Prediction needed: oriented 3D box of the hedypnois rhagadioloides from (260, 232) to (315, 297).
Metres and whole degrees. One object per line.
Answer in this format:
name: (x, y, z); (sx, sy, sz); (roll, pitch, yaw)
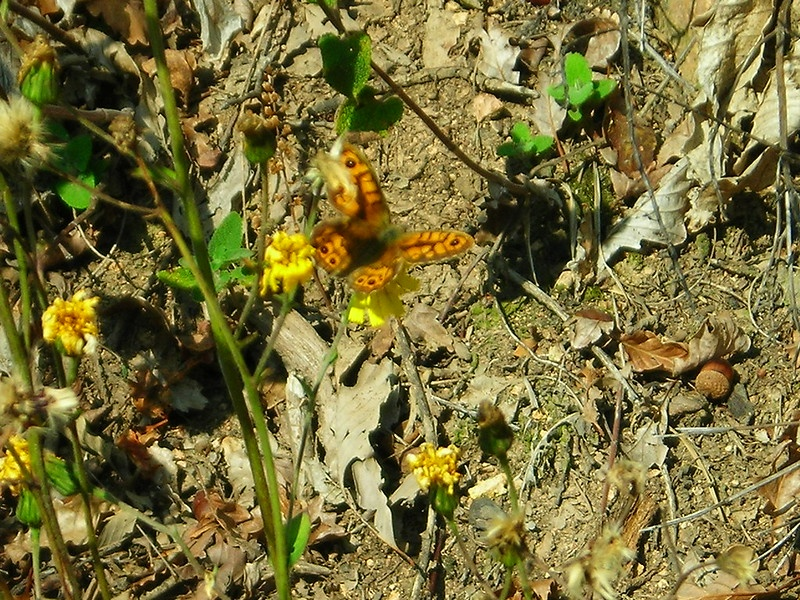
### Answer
hedypnois rhagadioloides: (-0.347, -0.112, 3.310); (0.169, 0.064, 0.181); (28, 79, -9)

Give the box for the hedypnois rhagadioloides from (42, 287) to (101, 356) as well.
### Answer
hedypnois rhagadioloides: (-0.992, 0.071, 3.323); (0.163, 0.115, 0.179); (-5, 60, 8)

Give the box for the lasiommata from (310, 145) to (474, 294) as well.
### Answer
lasiommata: (-0.036, -0.189, 3.513); (0.422, 0.421, 0.354); (20, 65, 21)
